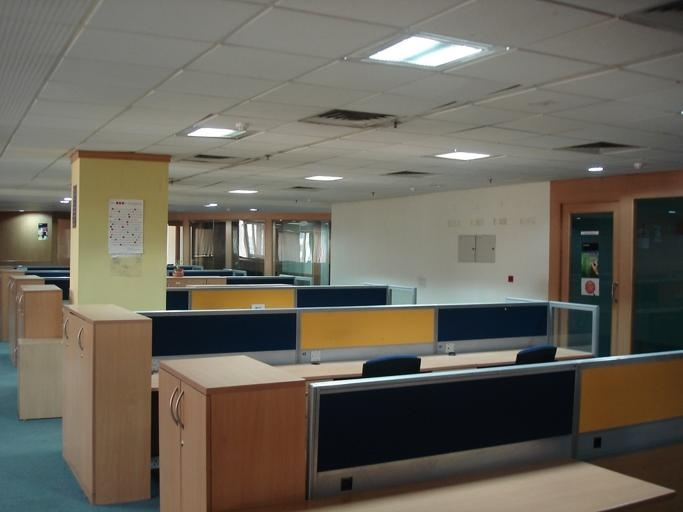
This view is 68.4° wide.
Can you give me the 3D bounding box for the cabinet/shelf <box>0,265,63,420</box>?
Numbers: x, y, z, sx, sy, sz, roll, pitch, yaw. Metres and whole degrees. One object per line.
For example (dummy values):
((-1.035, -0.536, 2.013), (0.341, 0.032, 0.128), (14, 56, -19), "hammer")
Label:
((-4.051, 1.158, 6.557), (0.490, 1.255, 1.437), (-1, 7, -23), "cabinet/shelf")
